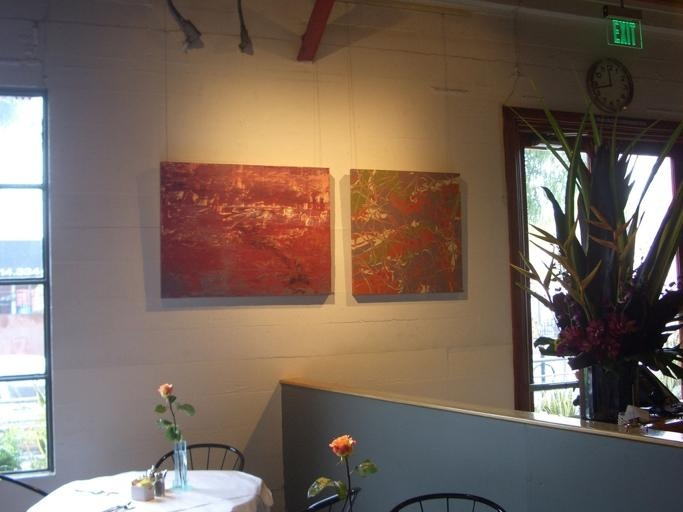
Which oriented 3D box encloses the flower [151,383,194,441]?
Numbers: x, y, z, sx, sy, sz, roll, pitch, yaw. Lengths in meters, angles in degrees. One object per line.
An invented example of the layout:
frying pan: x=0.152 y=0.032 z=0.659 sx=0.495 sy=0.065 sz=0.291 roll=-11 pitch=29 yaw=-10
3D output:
flower: x=-0.945 y=0.877 z=3.189 sx=0.241 sy=0.342 sz=0.132 roll=-2 pitch=18 yaw=3

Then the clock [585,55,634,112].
clock: x=2.257 y=-1.440 z=4.733 sx=0.388 sy=0.478 sz=0.086 roll=5 pitch=-11 yaw=-3
